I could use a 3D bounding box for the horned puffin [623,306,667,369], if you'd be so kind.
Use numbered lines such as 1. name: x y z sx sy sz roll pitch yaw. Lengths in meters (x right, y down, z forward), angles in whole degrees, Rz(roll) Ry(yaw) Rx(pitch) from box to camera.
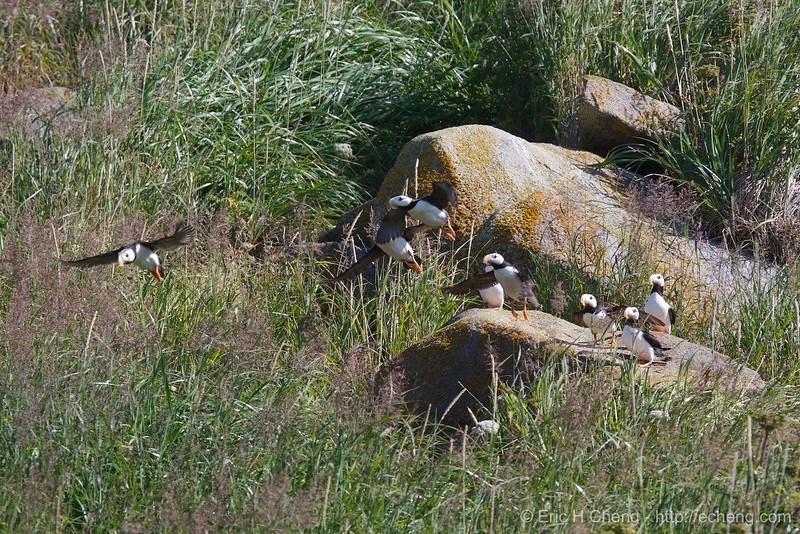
1. horned puffin: 1.521 0.439 6.933 0.344 0.365 0.199 4 -9 -31

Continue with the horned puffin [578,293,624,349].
1. horned puffin: 1.284 0.335 7.098 0.320 0.351 0.463 2 2 38

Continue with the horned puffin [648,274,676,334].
1. horned puffin: 1.763 0.265 7.493 0.218 0.423 0.191 21 -32 -19

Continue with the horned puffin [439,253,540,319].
1. horned puffin: 0.692 0.172 7.236 0.402 0.283 0.617 0 -4 -31

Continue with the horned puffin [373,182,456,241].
1. horned puffin: 0.169 -0.347 6.633 0.325 0.191 0.341 16 -15 -31
